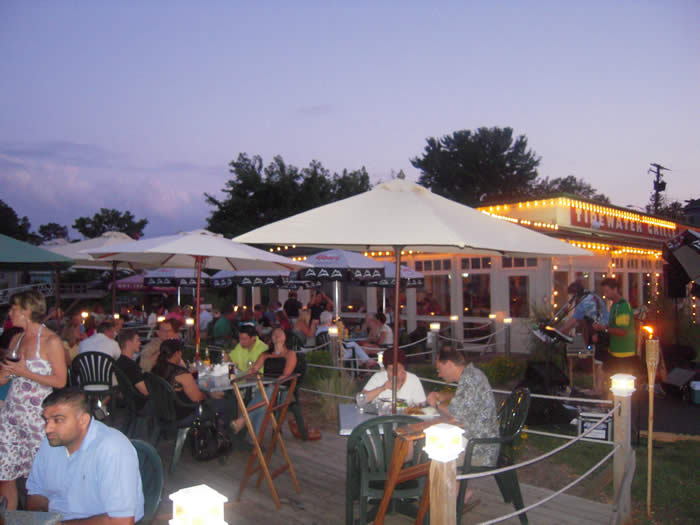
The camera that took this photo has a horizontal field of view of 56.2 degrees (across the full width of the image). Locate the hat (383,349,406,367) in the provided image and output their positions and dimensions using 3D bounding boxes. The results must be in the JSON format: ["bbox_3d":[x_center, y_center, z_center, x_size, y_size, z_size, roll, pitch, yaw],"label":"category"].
[{"bbox_3d":[0.532,1.124,7.870,0.215,0.280,0.325,-1,-19,5],"label":"hat"}]

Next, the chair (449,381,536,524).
[{"bbox_3d":[1.641,2.114,7.562,1.142,1.869,1.228,1,-10,-4],"label":"chair"}]

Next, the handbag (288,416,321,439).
[{"bbox_3d":[-0.676,2.479,9.820,0.563,0.424,0.202,-4,4,-2],"label":"handbag"}]

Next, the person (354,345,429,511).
[{"bbox_3d":[0.520,1.716,7.997,0.787,1.360,0.702,0,-4,15],"label":"person"}]

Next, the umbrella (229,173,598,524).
[{"bbox_3d":[1.248,1.378,11.187,5.038,3.747,5.215,0,-4,-3],"label":"umbrella"}]

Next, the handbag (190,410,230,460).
[{"bbox_3d":[-1.918,2.357,8.970,0.202,0.691,0.658,4,12,42],"label":"handbag"}]
